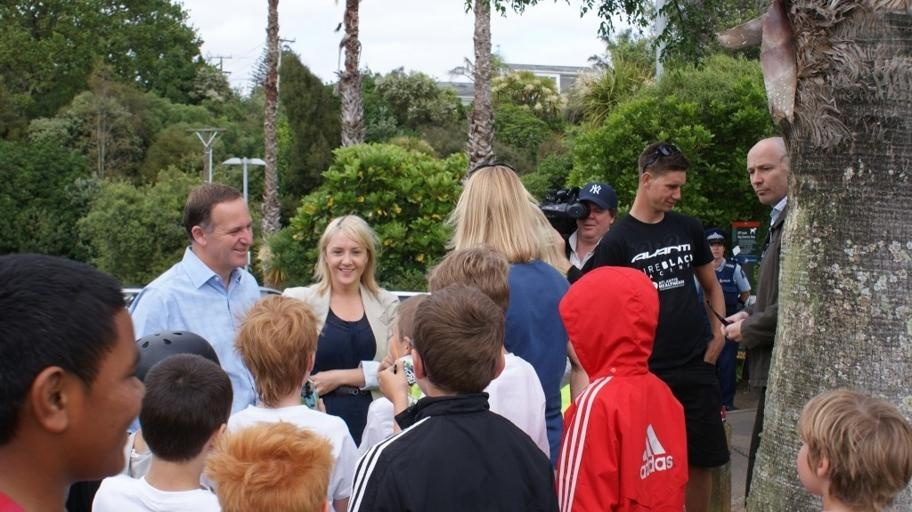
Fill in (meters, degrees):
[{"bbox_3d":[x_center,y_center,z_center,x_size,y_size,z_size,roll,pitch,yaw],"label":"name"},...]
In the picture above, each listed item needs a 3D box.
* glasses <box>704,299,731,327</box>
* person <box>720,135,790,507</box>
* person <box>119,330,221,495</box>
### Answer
[{"bbox_3d":[2.619,0.581,8.710,0.055,0.185,0.184,-45,3,-13],"label":"glasses"},{"bbox_3d":[2.874,0.606,8.305,0.520,3.616,1.332,0,1,20],"label":"person"},{"bbox_3d":[-2.373,1.105,7.459,0.733,0.983,0.950,-2,11,-40],"label":"person"}]
